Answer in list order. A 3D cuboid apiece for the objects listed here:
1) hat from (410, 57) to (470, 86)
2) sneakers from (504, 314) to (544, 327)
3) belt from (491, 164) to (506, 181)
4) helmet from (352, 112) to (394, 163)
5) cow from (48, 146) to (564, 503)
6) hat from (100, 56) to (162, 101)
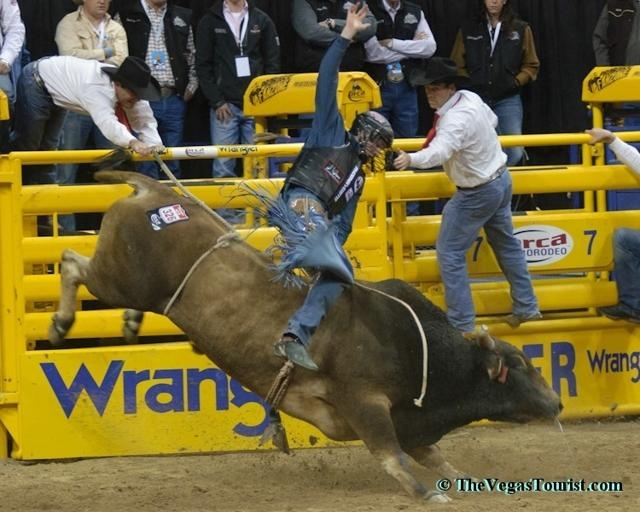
[{"bbox_3d":[0.995,-1.480,11.029,0.487,0.164,0.388,-2,9,-23],"label":"hat"},{"bbox_3d":[1.655,0.522,11.140,0.213,0.089,0.145,-2,4,8],"label":"sneakers"},{"bbox_3d":[1.430,-0.674,10.931,0.128,0.039,0.134,-35,6,36],"label":"belt"},{"bbox_3d":[0.373,-0.901,10.140,0.420,0.348,0.309,9,2,2],"label":"helmet"},{"bbox_3d":[-0.119,0.561,9.986,3.458,2.242,0.991,1,14,14],"label":"cow"},{"bbox_3d":[-1.570,-1.548,11.213,0.407,0.160,0.461,4,-3,1],"label":"hat"}]
